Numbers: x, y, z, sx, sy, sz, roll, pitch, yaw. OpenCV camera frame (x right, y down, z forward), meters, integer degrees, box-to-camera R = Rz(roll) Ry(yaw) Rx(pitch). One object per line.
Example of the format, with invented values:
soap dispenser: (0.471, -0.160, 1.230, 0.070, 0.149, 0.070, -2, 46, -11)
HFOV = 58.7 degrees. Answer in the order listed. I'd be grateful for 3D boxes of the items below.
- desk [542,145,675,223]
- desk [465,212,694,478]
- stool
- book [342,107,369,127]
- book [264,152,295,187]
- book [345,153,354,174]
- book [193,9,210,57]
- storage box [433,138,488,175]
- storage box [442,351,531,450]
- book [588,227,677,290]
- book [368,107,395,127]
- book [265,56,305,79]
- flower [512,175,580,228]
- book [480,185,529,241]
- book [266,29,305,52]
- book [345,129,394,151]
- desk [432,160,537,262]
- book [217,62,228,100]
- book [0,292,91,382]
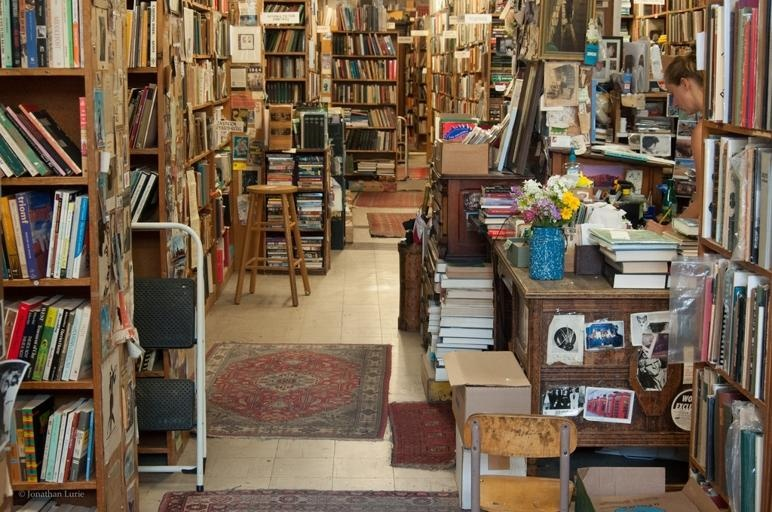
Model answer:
desk: (1.499, -0.455, 4.652, 0.639, 0.638, 0.461, -8, 0, -1)
desk: (1.230, 0.412, 4.247, 0.907, 1.071, 1.680, 0, 18, 12)
stool: (-1.122, -0.116, 6.775, 0.767, 1.115, 0.808, 4, 7, 22)
book: (-0.558, -2.561, 12.814, 0.534, 0.316, 0.356, -5, 15, -21)
book: (-1.085, -0.957, 7.416, 0.397, 0.405, 0.312, 2, 13, 2)
book: (-0.655, -1.768, 13.002, 0.117, 0.392, 0.295, 6, 15, 25)
book: (-1.641, -1.967, 6.101, 0.088, 0.384, 0.375, 3, 6, -15)
storage box: (0.540, -0.699, 4.876, 0.263, 0.172, 0.272, 0, 7, -3)
storage box: (0.508, 0.636, 3.430, 0.356, 0.292, 0.549, 1, 4, 1)
book: (1.268, 0.006, 3.545, 0.398, 0.250, 0.314, 2, 14, 7)
book: (-0.098, -2.549, 13.002, 0.534, 0.547, 0.325, -1, 1, -5)
book: (-1.537, -2.869, 10.414, 0.495, 0.484, 0.364, 3, 46, -2)
flower: (0.866, -0.272, 3.706, 0.364, 0.260, 0.400, -4, 15, -32)
book: (0.767, -0.285, 4.455, 0.271, 0.200, 0.411, 1, 8, 1)
book: (-1.509, -3.215, 10.260, 0.396, 0.399, 0.409, 0, 10, -6)
book: (-0.285, -2.172, 12.917, 0.891, 0.405, 0.160, 1, 13, 3)
desk: (0.650, -0.334, 5.149, 0.414, 0.536, 0.765, 3, 12, 11)
book: (-1.673, -1.793, 7.026, 0.103, 0.324, 0.306, 4, 1, -4)
book: (-1.491, 0.327, 3.170, 0.319, 0.438, 0.437, 5, 1, -4)
